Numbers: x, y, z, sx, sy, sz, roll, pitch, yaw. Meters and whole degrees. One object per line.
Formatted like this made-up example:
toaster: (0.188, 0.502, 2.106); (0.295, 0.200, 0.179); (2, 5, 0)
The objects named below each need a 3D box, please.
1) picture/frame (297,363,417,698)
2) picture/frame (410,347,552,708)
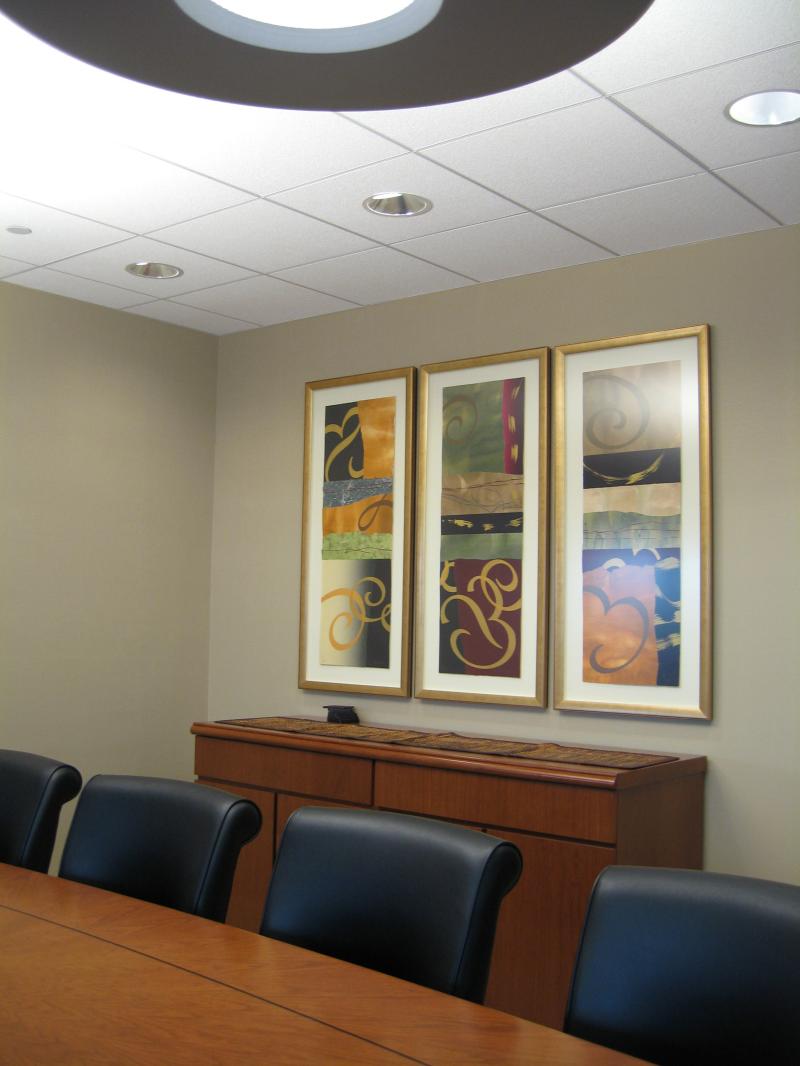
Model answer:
picture/frame: (-0.260, -0.009, 4.826); (0.846, 1.856, 0.122); (-5, -8, 40)
picture/frame: (0.423, -0.034, 4.340); (0.183, 1.807, 0.808); (6, -9, -43)
